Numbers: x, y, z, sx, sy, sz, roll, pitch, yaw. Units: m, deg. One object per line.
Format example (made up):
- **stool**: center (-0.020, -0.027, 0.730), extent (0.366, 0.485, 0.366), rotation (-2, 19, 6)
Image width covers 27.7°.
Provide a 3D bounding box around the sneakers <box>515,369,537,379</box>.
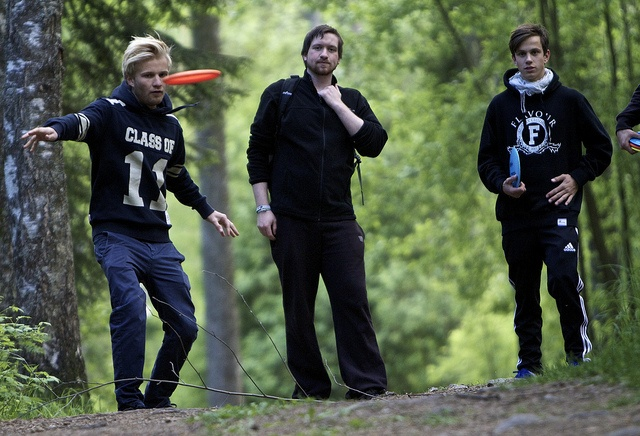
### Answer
- **sneakers**: center (2.278, 1.744, 14.607), extent (0.242, 0.088, 0.697), rotation (-10, -4, 6)
